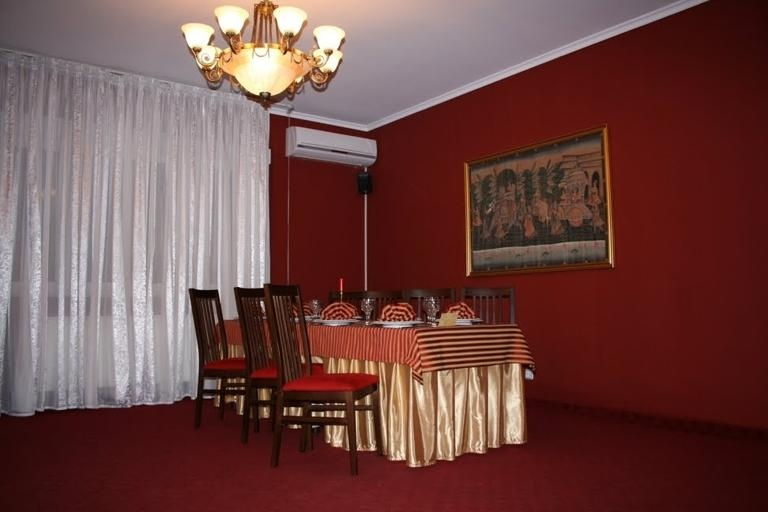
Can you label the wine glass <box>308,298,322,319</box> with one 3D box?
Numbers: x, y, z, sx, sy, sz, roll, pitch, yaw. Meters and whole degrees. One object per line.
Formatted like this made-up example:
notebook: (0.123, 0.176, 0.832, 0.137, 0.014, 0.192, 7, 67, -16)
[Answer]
wine glass: (-0.690, 0.527, 5.775, 0.165, 0.245, 0.166, 2, -7, -2)
